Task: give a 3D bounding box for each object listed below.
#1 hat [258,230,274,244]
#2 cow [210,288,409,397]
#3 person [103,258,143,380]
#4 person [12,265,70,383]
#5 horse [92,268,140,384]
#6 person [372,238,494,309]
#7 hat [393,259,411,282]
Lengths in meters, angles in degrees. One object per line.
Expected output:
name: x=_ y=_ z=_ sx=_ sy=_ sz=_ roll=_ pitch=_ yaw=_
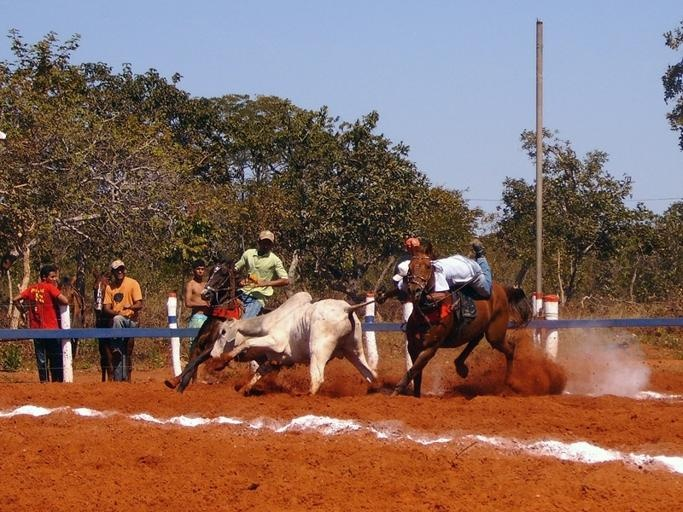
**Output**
hat: x=-1.500 y=-0.361 z=20.045 sx=0.282 sy=0.246 sz=0.338 roll=0 pitch=9 yaw=-13
cow: x=-0.400 y=1.813 z=19.455 sx=4.157 sy=2.696 sz=1.299 roll=-11 pitch=-25 yaw=27
person: x=-4.751 y=1.432 z=21.756 sx=0.799 sy=2.662 sz=0.800 roll=-1 pitch=9 yaw=-15
person: x=-6.353 y=1.505 z=21.494 sx=0.933 sy=2.574 sz=1.467 roll=-1 pitch=9 yaw=-19
horse: x=-5.007 y=1.628 z=22.245 sx=0.964 sy=2.458 sz=2.502 roll=2 pitch=43 yaw=-8
person: x=1.986 y=0.279 z=19.569 sx=2.481 sy=1.346 sz=1.126 roll=-4 pitch=11 yaw=-34
hat: x=1.178 y=0.293 z=19.374 sx=0.292 sy=0.427 sz=0.144 roll=14 pitch=4 yaw=26
